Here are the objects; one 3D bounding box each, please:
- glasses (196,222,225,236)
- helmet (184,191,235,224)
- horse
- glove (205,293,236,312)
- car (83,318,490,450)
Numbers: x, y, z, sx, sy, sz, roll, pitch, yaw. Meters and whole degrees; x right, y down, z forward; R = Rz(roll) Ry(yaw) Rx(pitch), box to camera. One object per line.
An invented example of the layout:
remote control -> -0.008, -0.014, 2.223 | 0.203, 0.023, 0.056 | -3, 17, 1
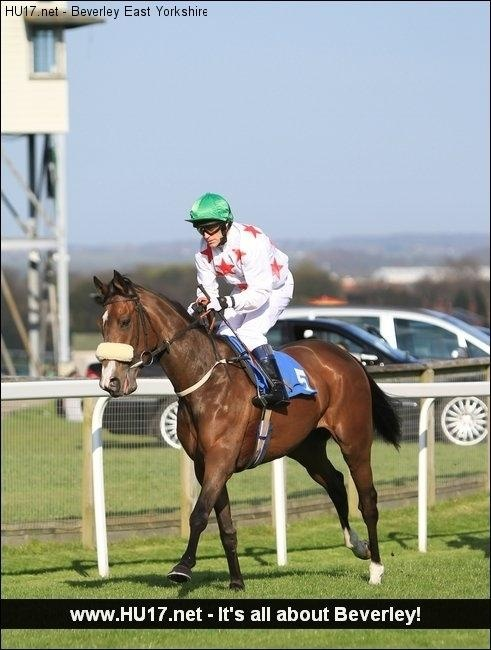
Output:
glasses -> -0.152, -0.435, 5.439 | 0.069, 0.035, 0.080 | -18, -7, 31
helmet -> -0.156, -0.526, 5.394 | 0.195, 0.143, 0.149 | -6, 10, -10
horse -> 0.115, 0.555, 5.572 | 1.874, 1.499, 0.430 | 5, -10, -42
glove -> -0.116, -0.103, 5.424 | 0.107, 0.068, 0.040 | 0, -15, 4
car -> 0.439, 0.437, 7.971 | 2.833, 1.017, 1.322 | 3, -5, -14
